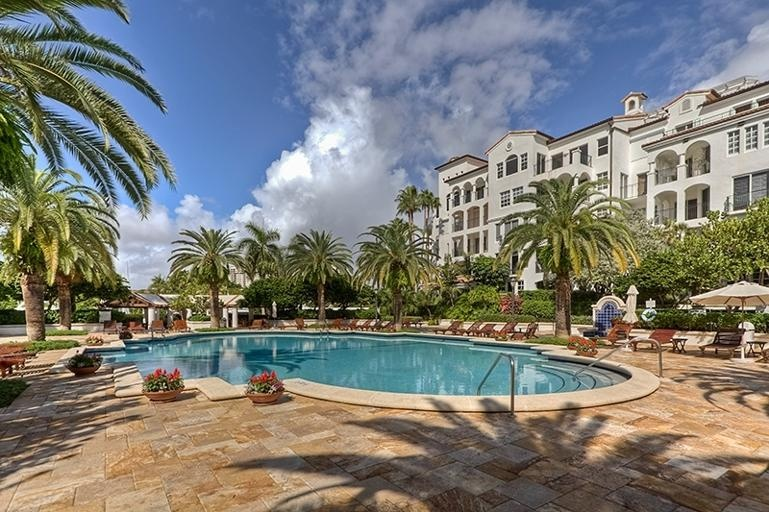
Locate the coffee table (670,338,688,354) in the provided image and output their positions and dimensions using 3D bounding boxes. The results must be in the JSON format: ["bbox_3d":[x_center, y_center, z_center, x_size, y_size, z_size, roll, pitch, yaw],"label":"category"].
[{"bbox_3d":[14.376,4.437,21.539,0.625,0.605,0.636,1,-8,21],"label":"coffee table"}]

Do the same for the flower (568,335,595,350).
[{"bbox_3d":[9.031,4.070,20.366,0.892,0.452,0.980,2,-10,-11],"label":"flower"}]

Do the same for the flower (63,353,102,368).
[{"bbox_3d":[-11.158,3.972,16.649,0.953,0.475,0.994,3,-16,-10],"label":"flower"}]

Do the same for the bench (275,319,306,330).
[{"bbox_3d":[-8.643,6.116,39.746,1.911,0.874,4.861,3,-10,-24],"label":"bench"}]

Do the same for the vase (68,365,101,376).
[{"bbox_3d":[-11.134,4.265,16.342,0.885,0.391,0.586,3,-9,-23],"label":"vase"}]

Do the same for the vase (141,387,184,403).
[{"bbox_3d":[-6.730,4.269,13.447,0.973,0.411,0.551,4,-9,-28],"label":"vase"}]

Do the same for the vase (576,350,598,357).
[{"bbox_3d":[9.160,4.401,19.870,0.986,0.365,0.896,-2,-9,7],"label":"vase"}]

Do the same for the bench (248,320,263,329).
[{"bbox_3d":[-11.016,5.999,38.345,0.805,0.611,1.042,1,-9,-7],"label":"bench"}]

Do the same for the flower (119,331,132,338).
[{"bbox_3d":[-17.575,5.418,29.994,0.503,0.223,0.578,6,-5,-18],"label":"flower"}]
